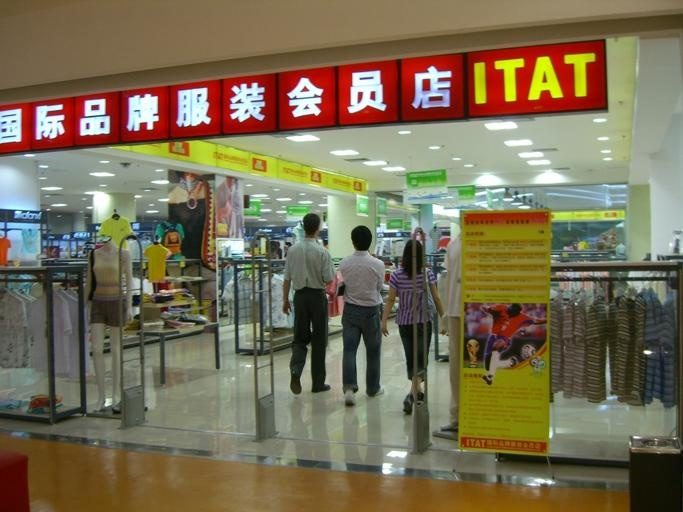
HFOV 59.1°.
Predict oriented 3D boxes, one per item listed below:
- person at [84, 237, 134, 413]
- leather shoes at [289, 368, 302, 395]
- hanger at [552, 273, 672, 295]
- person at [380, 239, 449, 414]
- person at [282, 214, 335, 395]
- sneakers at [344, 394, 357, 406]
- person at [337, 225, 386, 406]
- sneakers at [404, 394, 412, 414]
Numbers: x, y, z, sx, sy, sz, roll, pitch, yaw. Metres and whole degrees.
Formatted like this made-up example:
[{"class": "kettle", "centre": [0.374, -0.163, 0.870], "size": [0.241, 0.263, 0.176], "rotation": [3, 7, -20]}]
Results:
[{"class": "person", "centre": [-2.307, 0.693, 6.006], "size": [0.424, 1.698, 0.764], "rotation": [-2, 2, -23]}, {"class": "leather shoes", "centre": [-0.475, 1.312, 6.252], "size": [0.098, 0.271, 0.114], "rotation": [-6, -2, 0]}, {"class": "hanger", "centre": [2.042, 0.211, 4.554], "size": [0.835, 0.184, 0.070], "rotation": [1, 3, 23]}, {"class": "person", "centre": [0.661, 0.685, 5.601], "size": [0.587, 1.739, 1.415], "rotation": [-1, 3, 4]}, {"class": "person", "centre": [-0.363, 0.533, 6.473], "size": [0.629, 1.978, 0.505], "rotation": [-2, 2, -23]}, {"class": "sneakers", "centre": [0.086, 1.464, 6.245], "size": [0.119, 0.126, 0.196], "rotation": [-1, 3, -2]}, {"class": "person", "centre": [0.218, 0.603, 6.357], "size": [0.470, 1.835, 0.400], "rotation": [-1, 2, -9]}, {"class": "sneakers", "centre": [0.655, 1.466, 5.942], "size": [0.107, 0.135, 0.328], "rotation": [0, -9, 4]}]
